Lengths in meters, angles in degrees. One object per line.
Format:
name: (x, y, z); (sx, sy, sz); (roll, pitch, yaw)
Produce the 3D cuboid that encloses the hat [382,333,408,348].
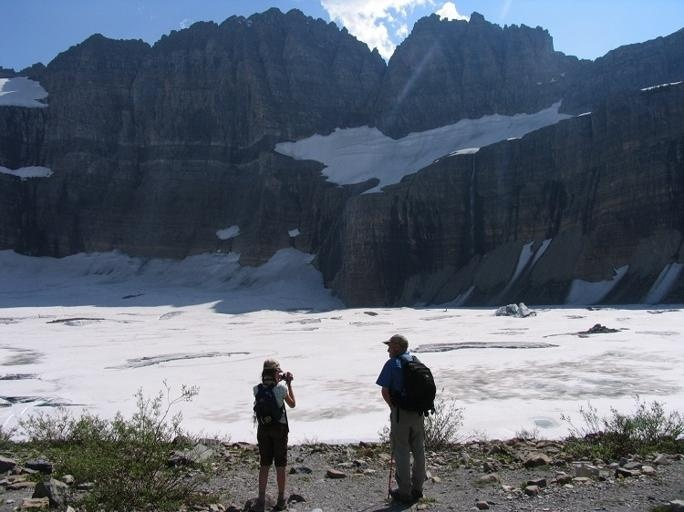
hat: (3.129, 4.799, 54.333); (1.056, 0.522, 0.735); (1, -16, 10)
